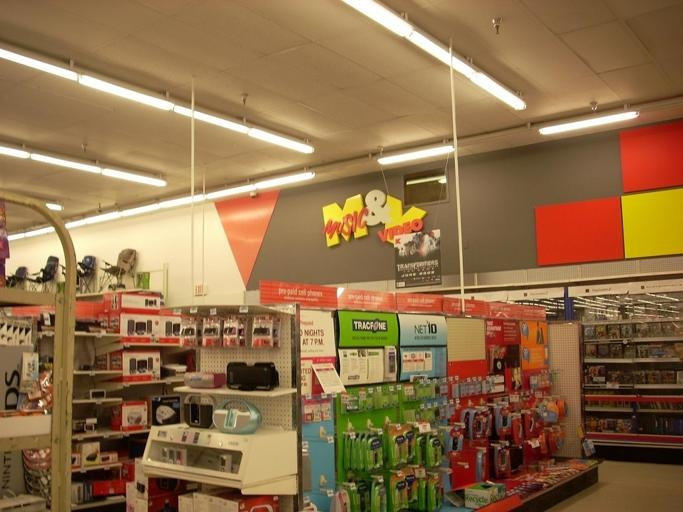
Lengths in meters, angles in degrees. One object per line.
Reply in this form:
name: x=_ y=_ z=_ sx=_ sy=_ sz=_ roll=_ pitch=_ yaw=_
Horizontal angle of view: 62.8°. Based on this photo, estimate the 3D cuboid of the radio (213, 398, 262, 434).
radio: x=-0.902 y=1.403 z=4.810 sx=0.419 sy=0.298 sz=0.154 roll=-5 pitch=-22 yaw=26
